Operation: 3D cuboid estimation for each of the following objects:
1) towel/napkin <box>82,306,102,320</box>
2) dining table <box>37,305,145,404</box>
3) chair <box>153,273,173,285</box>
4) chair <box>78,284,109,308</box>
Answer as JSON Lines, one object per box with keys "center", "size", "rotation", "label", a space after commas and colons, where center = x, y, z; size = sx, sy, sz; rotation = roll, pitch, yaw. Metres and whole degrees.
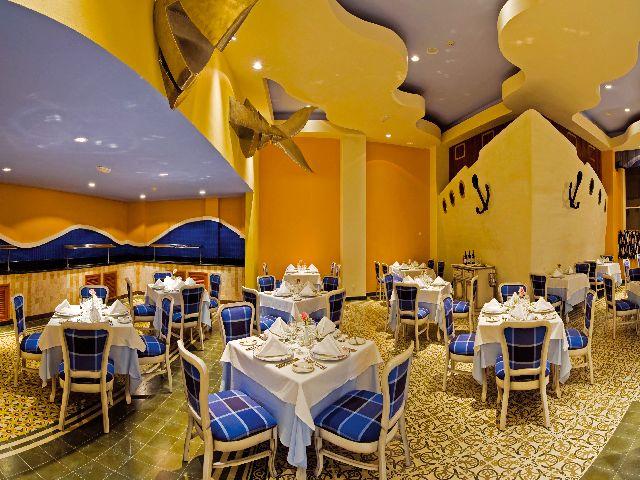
{"center": [-3.268, 1.083, 6.471], "size": [0.241, 0.135, 0.256], "rotation": [2, 1, -13], "label": "towel/napkin"}
{"center": [-3.042, 1.524, 6.178], "size": [1.062, 0.745, 1.171], "rotation": [2, 11, -6], "label": "dining table"}
{"center": [-3.416, 0.790, 9.877], "size": [0.335, 0.343, 0.304], "rotation": [3, 1, 20], "label": "chair"}
{"center": [-3.955, 0.925, 7.944], "size": [0.441, 0.624, 0.460], "rotation": [3, -5, -39], "label": "chair"}
